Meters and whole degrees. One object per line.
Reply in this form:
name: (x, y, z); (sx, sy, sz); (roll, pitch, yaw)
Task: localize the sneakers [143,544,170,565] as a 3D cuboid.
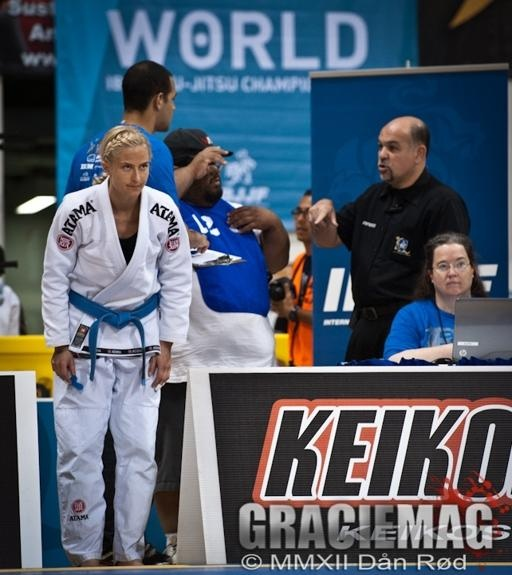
sneakers: (-0.377, 1.011, 3.782); (0.143, 0.070, 0.211); (6, -14, -9)

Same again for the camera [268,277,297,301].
camera: (0.144, 0.008, 5.332); (0.126, 0.110, 0.127); (-1, 9, 26)

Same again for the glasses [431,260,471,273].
glasses: (0.723, -0.076, 3.698); (0.125, 0.044, 0.040); (-1, -2, 4)

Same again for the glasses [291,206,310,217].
glasses: (0.280, -0.434, 5.822); (0.141, 0.038, 0.126); (3, 1, -16)

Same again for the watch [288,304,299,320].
watch: (0.205, 0.137, 5.317); (0.051, 0.068, 0.066); (7, 28, 12)

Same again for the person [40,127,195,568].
person: (-0.473, 0.214, 3.573); (0.551, 1.562, 0.314); (0, -2, -18)

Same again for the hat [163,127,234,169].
hat: (-0.262, -0.608, 4.321); (0.285, 0.133, 0.169); (-14, 8, -5)
